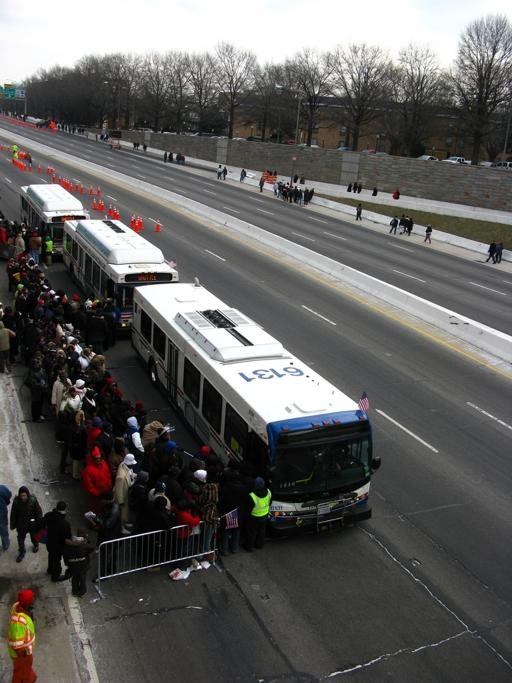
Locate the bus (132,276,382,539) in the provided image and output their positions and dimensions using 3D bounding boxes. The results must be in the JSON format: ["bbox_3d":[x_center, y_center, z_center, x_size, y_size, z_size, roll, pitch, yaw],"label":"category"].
[{"bbox_3d":[-0.563,0.595,11.731,2.382,2.145,8.739,-5,21,-19],"label":"bus"}]

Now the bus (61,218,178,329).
[{"bbox_3d":[-5.558,-3.305,20.343,2.574,2.581,8.158,-8,30,-24],"label":"bus"}]

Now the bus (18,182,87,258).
[{"bbox_3d":[-10.763,-7.282,27.948,2.557,2.733,7.718,-11,39,-33],"label":"bus"}]
